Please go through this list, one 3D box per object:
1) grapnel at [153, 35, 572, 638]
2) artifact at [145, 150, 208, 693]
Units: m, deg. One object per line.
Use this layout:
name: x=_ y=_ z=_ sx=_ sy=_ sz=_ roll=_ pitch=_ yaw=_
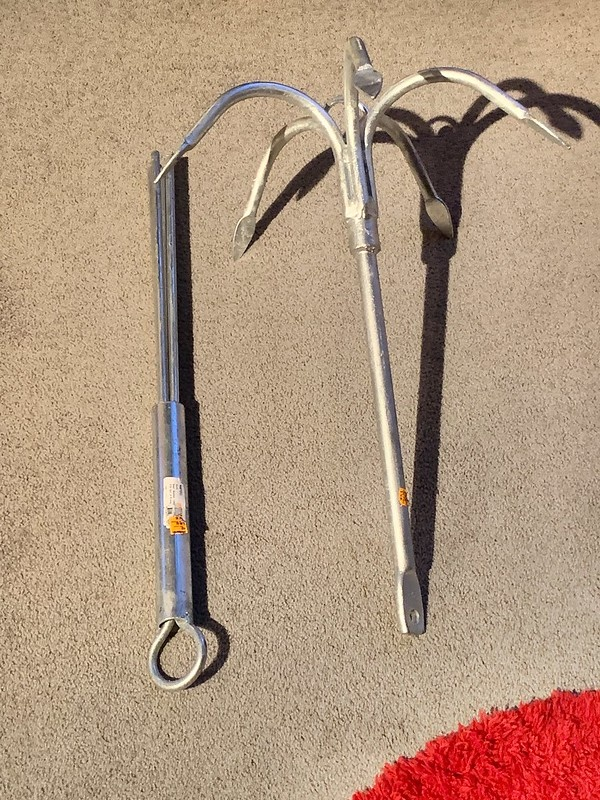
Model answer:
grapnel: x=0.035 y=-0.103 z=0.882 sx=0.340 sy=0.573 sz=0.331 roll=5 pitch=-36 yaw=-10
artifact: x=-0.112 y=0.018 z=0.940 sx=0.069 sy=0.500 sz=0.037 roll=-8 pitch=-24 yaw=13
